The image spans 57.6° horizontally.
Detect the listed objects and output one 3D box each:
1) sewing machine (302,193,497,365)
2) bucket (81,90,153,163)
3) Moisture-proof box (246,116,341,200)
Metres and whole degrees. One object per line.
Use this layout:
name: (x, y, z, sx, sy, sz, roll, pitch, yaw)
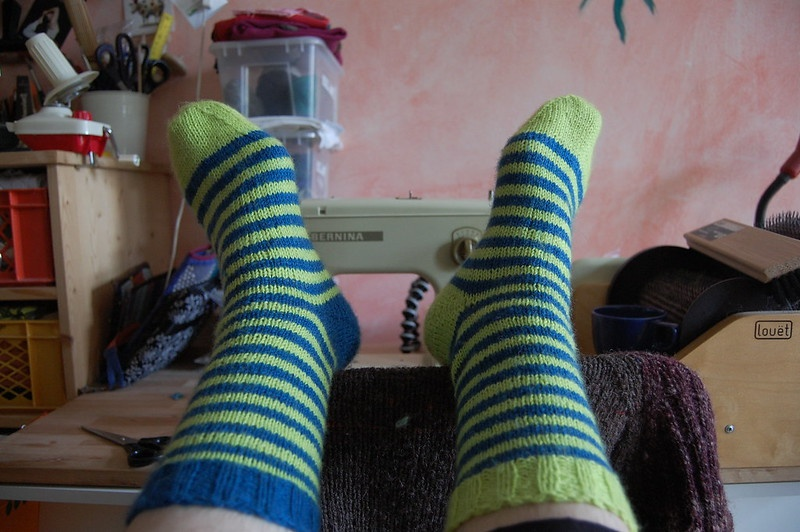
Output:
sewing machine: (0.003, 0.083, 1.701, 0.468, 0.478, 0.191, 0, 4, 0)
bucket: (-0.686, -0.350, 1.838, 0.169, 0.180, 0.155, 2, 9, 0)
Moisture-proof box: (-0.253, -0.291, 1.789, 0.190, 0.252, 0.198, -2, 24, -4)
